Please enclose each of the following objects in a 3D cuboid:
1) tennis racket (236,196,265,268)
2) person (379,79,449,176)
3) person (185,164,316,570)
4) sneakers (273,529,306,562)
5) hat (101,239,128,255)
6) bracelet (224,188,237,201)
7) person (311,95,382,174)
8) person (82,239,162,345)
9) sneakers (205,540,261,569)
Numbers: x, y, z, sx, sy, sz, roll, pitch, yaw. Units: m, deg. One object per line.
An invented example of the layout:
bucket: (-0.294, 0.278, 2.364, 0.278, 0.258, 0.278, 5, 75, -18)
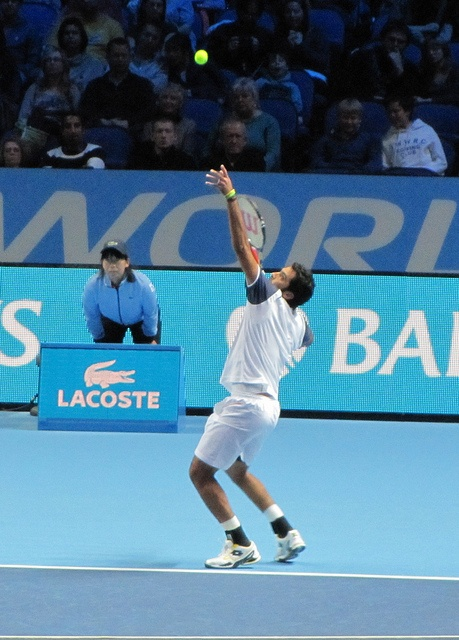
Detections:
tennis racket: (0.124, -0.536, 5.883, 0.035, 0.449, 0.137, -13, -10, -24)
person: (2.253, -2.274, 12.160, 0.847, 0.952, 0.581, 8, 6, 24)
person: (0.170, 0.260, 5.685, 0.770, 2.219, 0.657, 5, 6, -9)
sneakers: (0.343, 1.284, 5.665, 0.102, 0.119, 0.249, -19, -16, -28)
hat: (-1.052, -0.671, 9.159, 0.205, 0.136, 0.295, 7, 6, 23)
bracelet: (0.004, -0.700, 5.611, 0.057, 0.067, 0.056, 8, -34, 6)
person: (1.416, -2.183, 12.188, 0.794, 1.033, 0.722, 5, 10, 19)
person: (-1.019, -0.239, 9.564, 0.760, 1.041, 0.997, 5, 6, -5)
sneakers: (0.032, 1.306, 5.573, 0.349, 0.166, 0.116, -5, -2, -9)
